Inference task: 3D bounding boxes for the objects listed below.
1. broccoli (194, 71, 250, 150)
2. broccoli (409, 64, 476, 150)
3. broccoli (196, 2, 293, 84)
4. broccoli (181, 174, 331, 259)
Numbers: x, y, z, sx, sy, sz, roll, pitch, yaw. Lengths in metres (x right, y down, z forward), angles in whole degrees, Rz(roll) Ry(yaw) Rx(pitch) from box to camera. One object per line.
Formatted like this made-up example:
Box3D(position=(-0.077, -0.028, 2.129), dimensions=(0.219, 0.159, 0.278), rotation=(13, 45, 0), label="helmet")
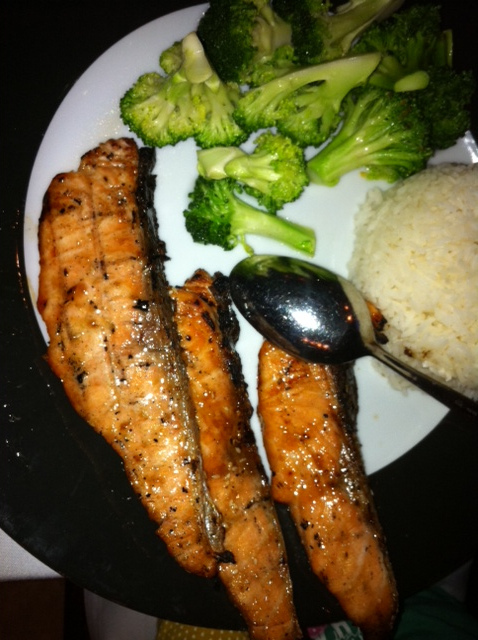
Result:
Box3D(position=(-0.108, -1.018, 2.987), dimensions=(0.285, 0.373, 0.235), rotation=(-1, 42, 11), label="broccoli")
Box3D(position=(0.960, -0.983, 2.909), dimensions=(0.347, 0.350, 0.102), rotation=(-3, 26, 7), label="broccoli")
Box3D(position=(0.038, -1.322, 2.929), dimensions=(0.432, 0.281, 0.315), rotation=(-22, 81, -1), label="broccoli")
Box3D(position=(0.053, -0.467, 3.089), dimensions=(0.671, 0.236, 0.313), rotation=(20, 89, -4), label="broccoli")
